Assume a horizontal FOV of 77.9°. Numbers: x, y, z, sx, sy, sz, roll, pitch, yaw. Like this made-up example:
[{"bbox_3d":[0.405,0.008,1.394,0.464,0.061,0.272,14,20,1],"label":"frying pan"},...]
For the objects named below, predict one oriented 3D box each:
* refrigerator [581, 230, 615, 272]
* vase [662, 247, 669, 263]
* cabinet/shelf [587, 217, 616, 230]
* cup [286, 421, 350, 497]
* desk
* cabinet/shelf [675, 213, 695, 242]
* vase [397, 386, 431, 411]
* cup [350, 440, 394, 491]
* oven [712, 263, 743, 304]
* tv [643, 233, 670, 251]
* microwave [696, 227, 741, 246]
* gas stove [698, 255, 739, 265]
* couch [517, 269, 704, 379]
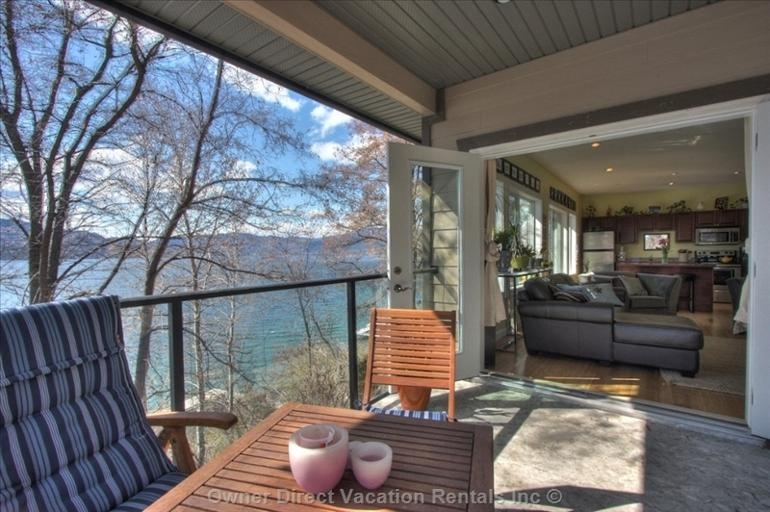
[{"bbox_3d":[5.473,-0.138,12.284,0.787,0.993,0.435,-2,0,28],"label":"refrigerator"},{"bbox_3d":[6.781,-0.070,11.540,0.133,0.372,0.196,-1,0,30],"label":"vase"},{"bbox_3d":[5.639,-0.855,12.515,0.340,0.384,0.608,1,1,-27],"label":"cabinet/shelf"},{"bbox_3d":[-0.397,1.207,2.866,0.313,0.371,0.373,8,-1,-24],"label":"cup"},{"bbox_3d":[1.899,0.754,6.582,0.267,0.598,1.211,2,6,28],"label":"desk"},{"bbox_3d":[7.103,-0.712,11.315,0.386,0.643,0.103,-2,0,33],"label":"cabinet/shelf"},{"bbox_3d":[0.273,1.175,4.189,0.325,0.236,0.319,-1,-10,3],"label":"vase"},{"bbox_3d":[-0.073,1.227,2.805,0.251,0.270,0.117,-1,0,-4],"label":"cup"},{"bbox_3d":[7.354,0.600,10.404,0.716,0.774,0.700,1,-1,14],"label":"oven"},{"bbox_3d":[6.714,-0.366,11.757,0.061,0.375,0.451,1,0,-36],"label":"tv"},{"bbox_3d":[7.537,-0.504,10.840,0.147,0.374,0.836,-1,-1,-45],"label":"microwave"},{"bbox_3d":[7.463,0.050,10.757,0.775,0.182,0.355,-2,-1,35],"label":"gas stove"},{"bbox_3d":[2.735,0.840,5.986,2.051,1.134,0.464,-2,0,30],"label":"couch"}]
